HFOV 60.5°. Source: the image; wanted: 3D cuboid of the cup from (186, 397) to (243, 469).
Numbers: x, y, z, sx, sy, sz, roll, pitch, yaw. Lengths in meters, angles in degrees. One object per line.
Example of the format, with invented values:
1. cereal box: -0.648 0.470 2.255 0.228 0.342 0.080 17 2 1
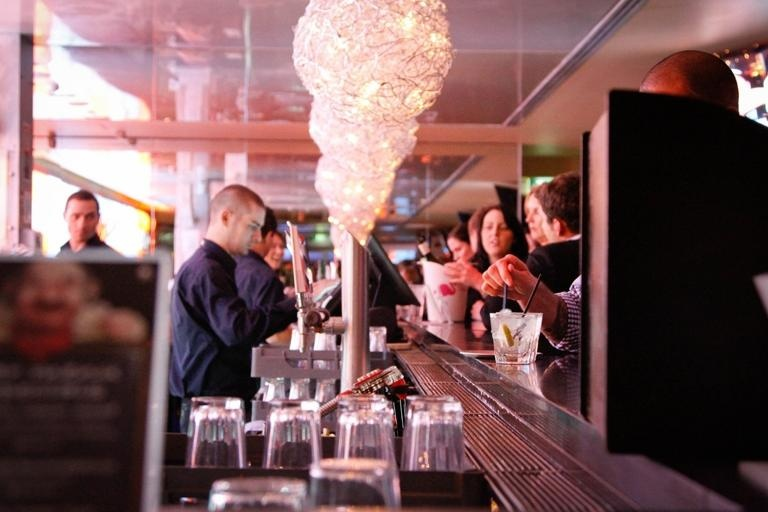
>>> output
1. cup: -0.316 0.329 1.235 0.128 0.136 0.123 0 -10 0

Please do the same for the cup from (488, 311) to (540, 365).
1. cup: 0.357 0.226 1.823 0.146 0.123 0.152 0 -6 0

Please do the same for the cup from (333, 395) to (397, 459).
1. cup: -0.035 0.314 1.225 0.111 0.111 0.108 0 -7 0

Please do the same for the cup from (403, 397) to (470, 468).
1. cup: 0.092 0.328 1.248 0.131 0.131 0.126 1 -8 0

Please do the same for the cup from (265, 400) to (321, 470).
1. cup: -0.165 0.338 1.264 0.121 0.139 0.115 2 -7 0

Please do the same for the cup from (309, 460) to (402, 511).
1. cup: -0.037 0.292 0.834 0.112 0.056 0.032 0 -8 -8
